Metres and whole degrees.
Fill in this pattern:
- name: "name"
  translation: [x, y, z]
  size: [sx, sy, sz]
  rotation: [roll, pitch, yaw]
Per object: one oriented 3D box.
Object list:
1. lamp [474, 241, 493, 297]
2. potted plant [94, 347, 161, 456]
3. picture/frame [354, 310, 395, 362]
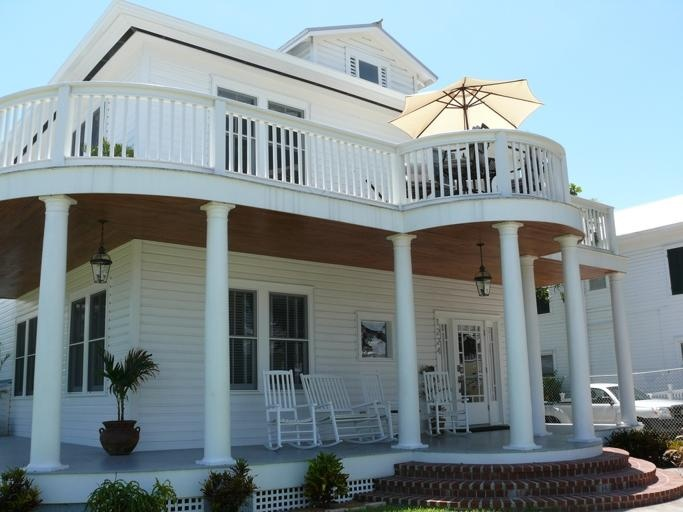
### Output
- name: "lamp"
  translation: [2.850, 0.268, 12.452]
  size: [0.480, 1.063, 0.421]
  rotation: [-3, -9, 2]
- name: "potted plant"
  translation: [-3.634, 2.493, 10.569]
  size: [0.925, 1.811, 0.972]
  rotation: [2, -18, -17]
- name: "picture/frame"
  translation: [0.709, 1.862, 13.984]
  size: [1.341, 1.298, 0.102]
  rotation: [-11, -4, -38]
